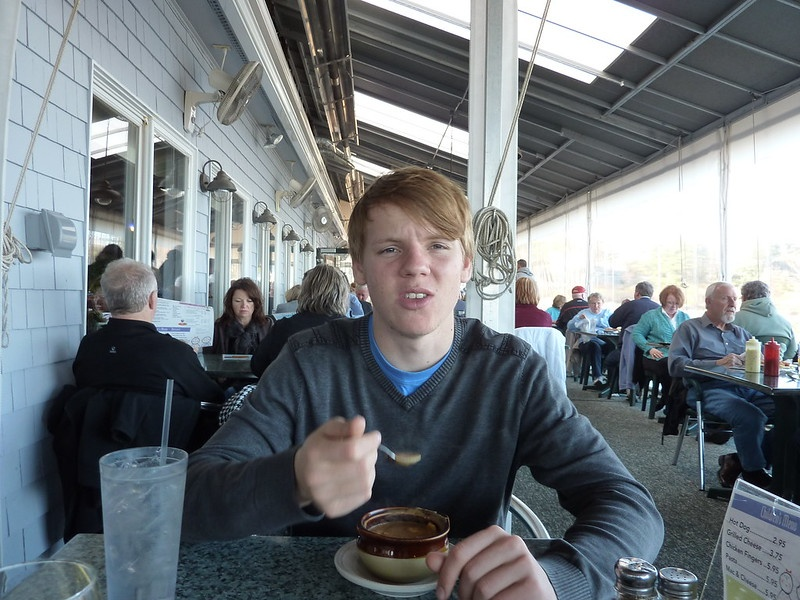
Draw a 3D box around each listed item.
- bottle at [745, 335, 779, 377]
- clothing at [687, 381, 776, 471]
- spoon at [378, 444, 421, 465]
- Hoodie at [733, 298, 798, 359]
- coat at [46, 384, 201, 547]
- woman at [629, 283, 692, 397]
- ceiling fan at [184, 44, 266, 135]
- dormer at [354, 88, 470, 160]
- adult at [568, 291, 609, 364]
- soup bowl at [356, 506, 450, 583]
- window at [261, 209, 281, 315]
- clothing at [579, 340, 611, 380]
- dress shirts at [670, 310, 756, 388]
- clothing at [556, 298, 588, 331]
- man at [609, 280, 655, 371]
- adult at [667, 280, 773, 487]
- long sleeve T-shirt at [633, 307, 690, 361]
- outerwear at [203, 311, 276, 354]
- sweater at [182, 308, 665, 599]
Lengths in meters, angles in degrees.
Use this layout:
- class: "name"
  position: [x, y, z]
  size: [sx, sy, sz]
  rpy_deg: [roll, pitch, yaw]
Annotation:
- class: "bottle"
  position: [2.288, 0.353, 3.354]
  size: [0.204, 0.234, 0.215]
  rpy_deg: [2, -7, 2]
- class: "clothing"
  position: [2.299, 0.837, 3.745]
  size: [0.497, 0.653, 0.561]
  rpy_deg: [2, -17, -15]
- class: "spoon"
  position: [-0.004, 0.389, 1.365]
  size: [0.101, 0.046, 0.044]
  rpy_deg: [2, 2, 1]
- class: "Hoodie"
  position: [2.977, 0.237, 4.490]
  size: [0.409, 0.370, 0.241]
  rpy_deg: [19, -4, 16]
- class: "coat"
  position: [-1.222, 0.769, 2.411]
  size: [0.579, 0.605, 0.202]
  rpy_deg: [-1, 8, -11]
- class: "woman"
  position: [2.694, 0.513, 5.572]
  size: [0.550, 1.292, 0.712]
  rpy_deg: [5, 7, 7]
- class: "ceiling fan"
  position: [-1.369, -1.590, 4.237]
  size: [0.516, 0.736, 0.583]
  rpy_deg: [9, 8, -28]
- class: "dormer"
  position: [0.174, -2.749, 9.741]
  size: [2.346, 0.233, 0.360]
  rpy_deg: [13, 39, -18]
- class: "adult"
  position: [2.820, 0.564, 7.976]
  size: [0.627, 1.226, 0.375]
  rpy_deg: [-6, 12, 8]
- class: "soup bowl"
  position: [0.001, 0.493, 1.103]
  size: [0.174, 0.100, 0.178]
  rpy_deg: [1, -2, 0]
- class: "window"
  position: [-1.995, -0.599, 8.137]
  size: [0.310, 1.363, 0.310]
  rpy_deg: [-3, 0, -22]
- class: "clothing"
  position: [2.636, 0.809, 7.696]
  size: [0.532, 0.708, 0.519]
  rpy_deg: [-1, 2, 25]
- class: "dress shirts"
  position: [2.311, 0.374, 4.054]
  size: [0.517, 0.361, 0.272]
  rpy_deg: [6, -18, -9]
- class: "clothing"
  position: [2.575, 0.224, 8.258]
  size: [0.413, 0.401, 0.237]
  rpy_deg: [10, 12, 19]
- class: "man"
  position: [3.010, 0.292, 6.814]
  size: [0.590, 0.472, 1.517]
  rpy_deg: [1, -43, 28]
- class: "adult"
  position: [2.390, 0.588, 3.946]
  size: [0.592, 1.403, 0.697]
  rpy_deg: [2, -5, -12]
- class: "long sleeve T-shirt"
  position: [2.516, 0.341, 5.312]
  size: [0.502, 0.416, 0.263]
  rpy_deg: [4, -7, -8]
- class: "outerwear"
  position: [-1.382, 0.312, 4.758]
  size: [0.429, 0.562, 0.200]
  rpy_deg: [7, 10, 1]
- class: "sweater"
  position: [0.087, 0.323, 1.472]
  size: [0.699, 0.450, 0.731]
  rpy_deg: [3, -11, 1]
